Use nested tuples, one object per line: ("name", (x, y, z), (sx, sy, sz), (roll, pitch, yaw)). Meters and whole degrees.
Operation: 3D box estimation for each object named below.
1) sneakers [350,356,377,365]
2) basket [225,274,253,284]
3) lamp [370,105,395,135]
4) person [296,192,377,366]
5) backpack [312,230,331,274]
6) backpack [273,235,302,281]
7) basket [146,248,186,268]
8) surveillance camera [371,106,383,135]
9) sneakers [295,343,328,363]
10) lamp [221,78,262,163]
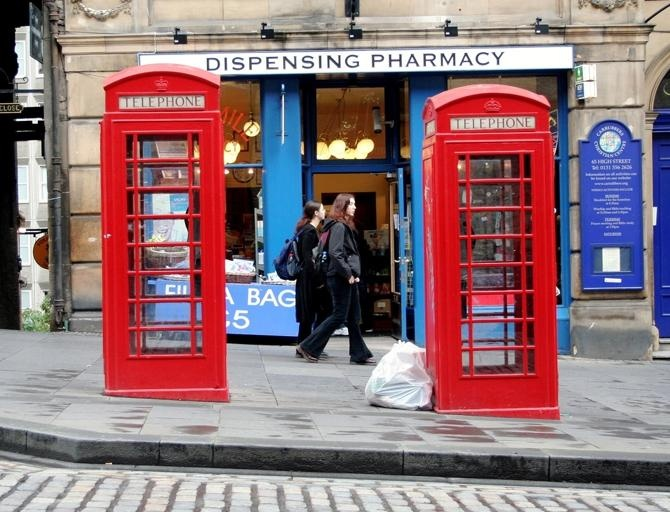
("sneakers", (0.397, 1.419, 14.459), (0.344, 0.147, 0.128), (-1, 1, -3))
("basket", (-1.522, 0.342, 16.127), (0.416, 0.142, 0.168), (-1, 2, -22))
("lamp", (0.736, -2.221, 17.044), (0.511, 0.517, 0.263), (0, 0, 0))
("person", (0.028, 0.324, 14.202), (0.964, 2.356, 0.816), (0, 2, 1))
("backpack", (-0.216, -0.074, 14.410), (0.356, 0.490, 0.443), (0, -20, -5))
("backpack", (-0.647, -0.078, 14.924), (0.414, 0.738, 0.629), (-2, 21, 0))
("basket", (-1.949, 0.011, 11.801), (0.478, 0.233, 0.101), (0, 2, 12))
("surveillance camera", (0.703, -2.237, 17.075), (0.174, 0.444, 0.107), (0, 2, 2))
("sneakers", (-0.394, 1.348, 14.618), (0.506, 0.227, 0.195), (3, -5, 31))
("lamp", (-1.530, -2.125, 16.563), (0.631, 1.296, 0.232), (-1, 2, -2))
